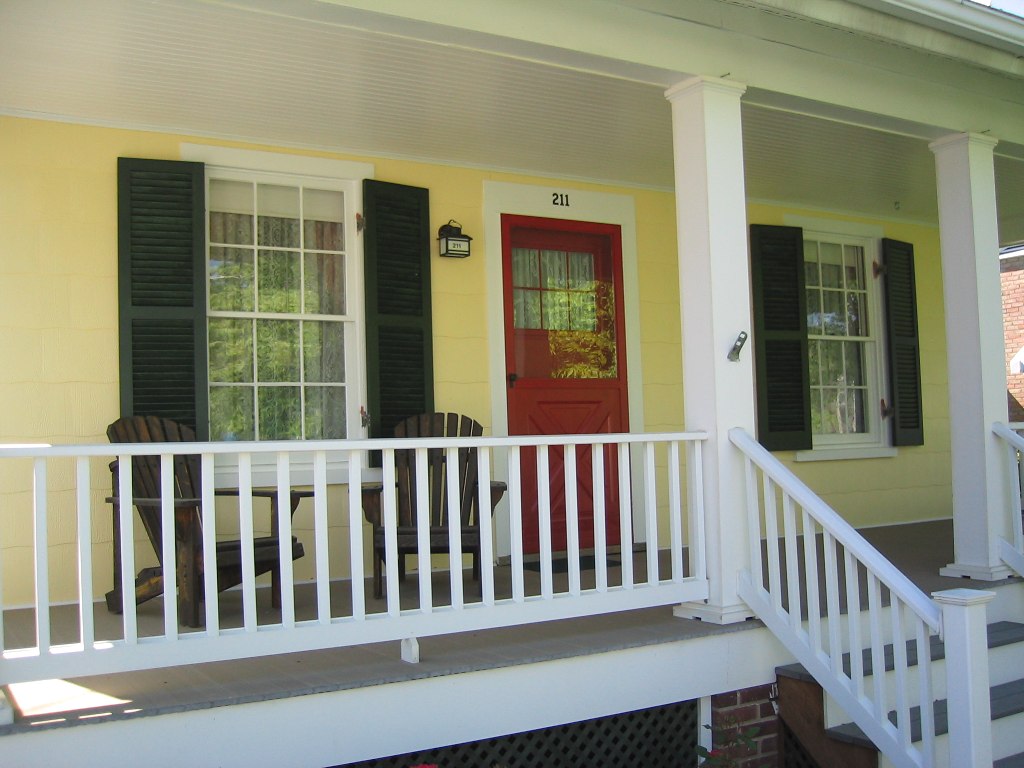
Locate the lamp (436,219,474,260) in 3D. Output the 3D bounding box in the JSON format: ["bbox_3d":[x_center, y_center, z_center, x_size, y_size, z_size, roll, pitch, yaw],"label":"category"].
[{"bbox_3d":[-0.427,-1.067,6.772,0.265,0.331,0.145,3,-7,-35],"label":"lamp"}]

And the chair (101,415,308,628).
[{"bbox_3d":[-1.944,0.770,5.531,1.299,1.325,0.948,1,0,40],"label":"chair"}]

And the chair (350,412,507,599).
[{"bbox_3d":[-0.524,0.754,5.793,0.944,1.117,0.965,-2,6,-30],"label":"chair"}]
